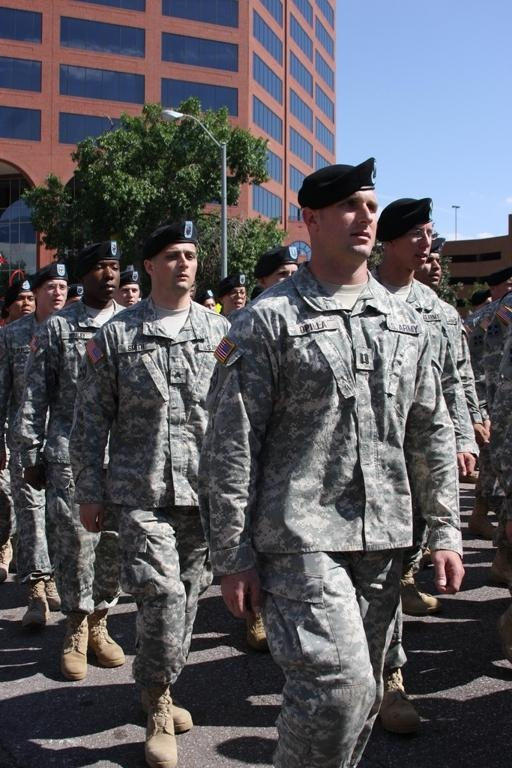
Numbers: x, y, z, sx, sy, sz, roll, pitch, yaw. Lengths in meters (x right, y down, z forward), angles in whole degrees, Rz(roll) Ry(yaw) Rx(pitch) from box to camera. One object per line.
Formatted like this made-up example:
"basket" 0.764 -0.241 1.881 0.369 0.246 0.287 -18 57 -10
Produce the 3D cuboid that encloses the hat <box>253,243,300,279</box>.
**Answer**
"hat" 0.124 -0.894 6.380 0.307 0.117 0.230 -17 4 34

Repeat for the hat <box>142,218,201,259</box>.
"hat" -0.401 -0.691 4.053 0.222 0.084 0.190 -12 3 40

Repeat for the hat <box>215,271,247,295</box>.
"hat" -0.227 -1.036 8.511 0.252 0.156 0.331 -1 -10 -36

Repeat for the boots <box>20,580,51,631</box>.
"boots" -1.419 1.413 5.500 0.150 0.289 0.429 -1 4 -5

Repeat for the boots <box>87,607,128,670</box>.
"boots" -0.846 1.396 4.730 0.131 0.264 0.390 -6 10 -34

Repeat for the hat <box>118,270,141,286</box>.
"hat" -1.168 -0.975 7.900 0.219 0.103 0.241 0 -7 -22

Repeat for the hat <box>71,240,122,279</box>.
"hat" -0.967 -0.738 5.079 0.223 0.117 0.262 2 -10 -41

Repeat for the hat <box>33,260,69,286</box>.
"hat" -1.518 -0.821 6.294 0.194 0.118 0.266 1 -11 -42
